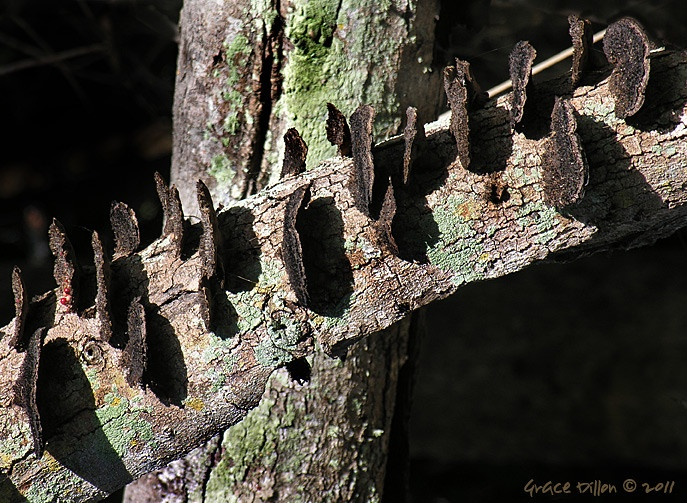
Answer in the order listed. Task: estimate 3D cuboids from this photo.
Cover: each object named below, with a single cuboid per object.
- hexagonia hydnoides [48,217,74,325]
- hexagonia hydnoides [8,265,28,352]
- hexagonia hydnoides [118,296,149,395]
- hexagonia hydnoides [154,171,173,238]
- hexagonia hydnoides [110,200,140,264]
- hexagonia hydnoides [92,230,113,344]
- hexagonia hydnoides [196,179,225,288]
[{"bbox_3d":[-1.443,0.096,6.029,0.108,0.586,0.148,0,7,9],"label":"hexagonia hydnoides"},{"bbox_3d":[-1.660,0.274,5.990,0.053,0.393,0.078,-2,2,-22],"label":"hexagonia hydnoides"},{"bbox_3d":[-1.059,0.478,5.898,0.142,0.485,0.071,7,27,0],"label":"hexagonia hydnoides"},{"bbox_3d":[-0.920,-0.217,6.075,0.099,0.383,0.095,5,17,28],"label":"hexagonia hydnoides"},{"bbox_3d":[-1.138,-0.119,6.081,0.182,0.272,0.065,-11,4,15],"label":"hexagonia hydnoides"},{"bbox_3d":[-1.214,0.186,5.894,0.118,0.536,0.059,-2,2,-37],"label":"hexagonia hydnoides"},{"bbox_3d":[-0.661,-0.162,5.943,0.147,0.596,0.132,14,-40,-24],"label":"hexagonia hydnoides"}]
